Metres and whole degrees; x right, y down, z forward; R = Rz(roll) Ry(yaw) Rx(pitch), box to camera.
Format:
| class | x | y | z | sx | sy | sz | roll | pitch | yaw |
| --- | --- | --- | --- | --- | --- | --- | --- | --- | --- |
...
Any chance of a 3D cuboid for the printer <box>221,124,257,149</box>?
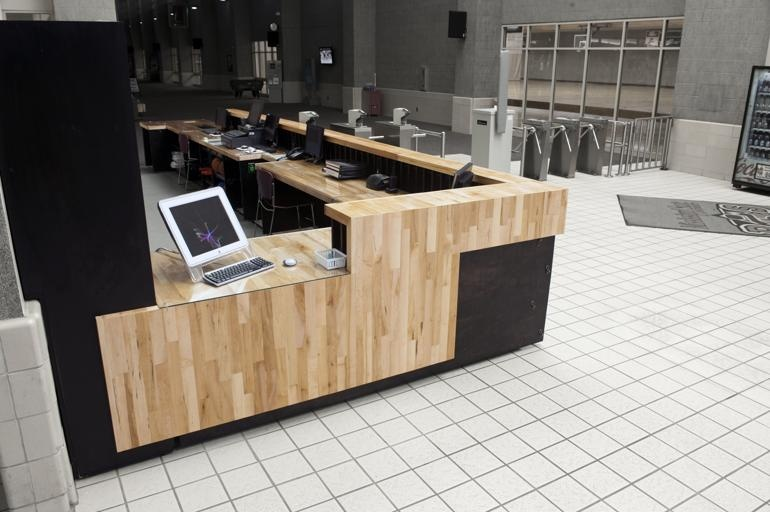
| class | x | y | z | sx | sy | sz | roll | pitch | yaw |
| --- | --- | --- | --- | --- | --- | --- | --- | --- | --- |
| printer | -2.444 | -1.950 | 8.276 | 0.602 | 0.332 | 0.551 | -8 | 23 | -26 |

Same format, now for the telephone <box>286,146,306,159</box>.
| class | x | y | z | sx | sy | sz | roll | pitch | yaw |
| --- | --- | --- | --- | --- | --- | --- | --- | --- | --- |
| telephone | -1.291 | -1.507 | 7.305 | 0.172 | 0.087 | 0.272 | 13 | 27 | 37 |

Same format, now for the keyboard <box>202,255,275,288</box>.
| class | x | y | z | sx | sy | sz | roll | pitch | yaw |
| --- | --- | --- | --- | --- | --- | --- | --- | --- | --- |
| keyboard | -1.059 | 0.104 | 3.584 | 0.479 | 0.080 | 0.243 | -17 | 27 | -41 |

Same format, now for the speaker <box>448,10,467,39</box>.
| class | x | y | z | sx | sy | sz | roll | pitch | yaw |
| --- | --- | --- | --- | --- | --- | --- | --- | --- | --- |
| speaker | 2.140 | -6.882 | 14.936 | 0.539 | 0.786 | 0.279 | -4 | 24 | -16 |

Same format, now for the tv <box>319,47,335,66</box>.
| class | x | y | z | sx | sy | sz | roll | pitch | yaw |
| --- | --- | --- | --- | --- | --- | --- | --- | --- | --- |
| tv | -2.493 | -8.548 | 21.413 | 0.156 | 0.692 | 1.060 | -17 | 27 | -35 |

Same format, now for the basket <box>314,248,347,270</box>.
| class | x | y | z | sx | sy | sz | roll | pitch | yaw |
| --- | --- | --- | --- | --- | --- | --- | --- | --- | --- |
| basket | -0.410 | 0.003 | 3.713 | 0.158 | 0.063 | 0.208 | -10 | 25 | -26 |
